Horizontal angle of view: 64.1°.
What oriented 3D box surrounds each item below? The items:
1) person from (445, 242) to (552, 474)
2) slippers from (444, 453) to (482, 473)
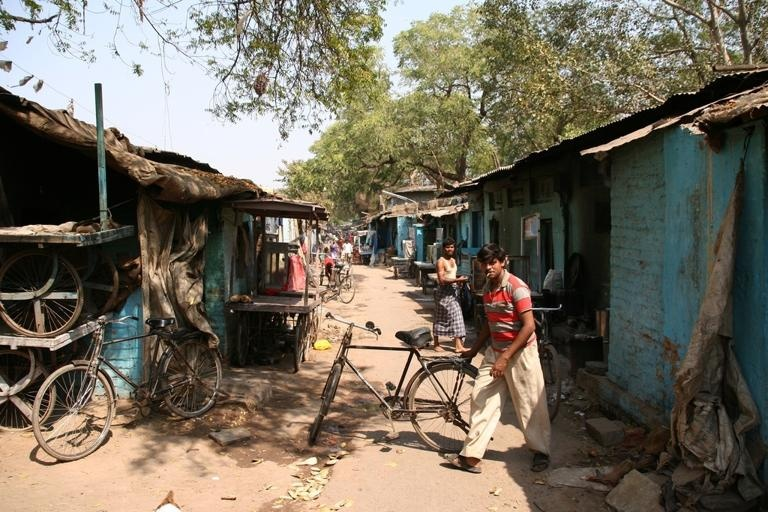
[{"bbox_3d":[1.514,1.266,7.578,1.154,2.792,0.802,2,13,14],"label":"person"},{"bbox_3d":[0.987,2.594,7.750,0.490,0.202,0.182,16,-4,25],"label":"slippers"}]
